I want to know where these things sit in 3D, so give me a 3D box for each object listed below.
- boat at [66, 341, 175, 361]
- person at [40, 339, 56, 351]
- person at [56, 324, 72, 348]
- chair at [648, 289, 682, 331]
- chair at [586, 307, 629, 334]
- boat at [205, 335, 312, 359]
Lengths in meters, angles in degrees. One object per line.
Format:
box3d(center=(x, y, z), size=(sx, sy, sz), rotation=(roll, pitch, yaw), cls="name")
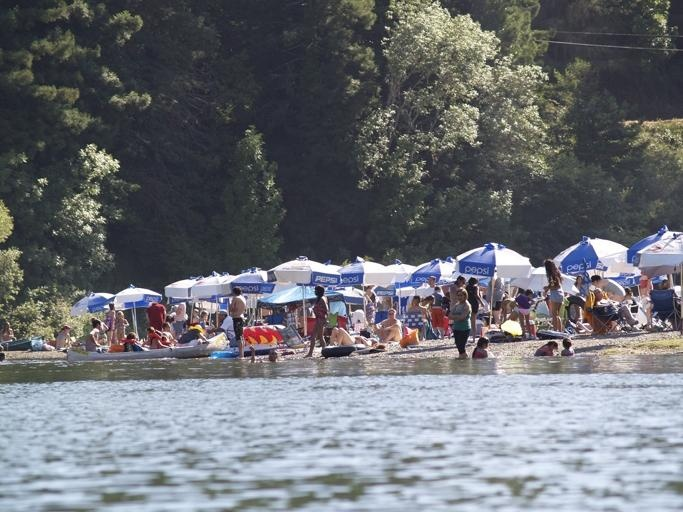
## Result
box3d(center=(-9.047, 4.045, 70.195), size=(3.831, 0.533, 0.802), rotation=(-2, -1, -3), cls="boat")
box3d(center=(-13.616, 4.250, 78.346), size=(0.585, 0.257, 0.770), rotation=(6, 5, 0), cls="person")
box3d(center=(-13.047, 3.856, 79.101), size=(0.746, 1.318, 0.618), rotation=(-6, 19, -39), cls="person")
box3d(center=(13.186, 2.083, 67.840), size=(1.347, 1.946, 1.535), rotation=(3, 17, 19), cls="chair")
box3d(center=(10.738, 2.566, 67.884), size=(1.217, 1.368, 1.133), rotation=(-8, -4, 7), cls="chair")
box3d(center=(-3.032, 3.852, 69.406), size=(2.628, 0.635, 1.447), rotation=(0, -4, -36), cls="boat")
